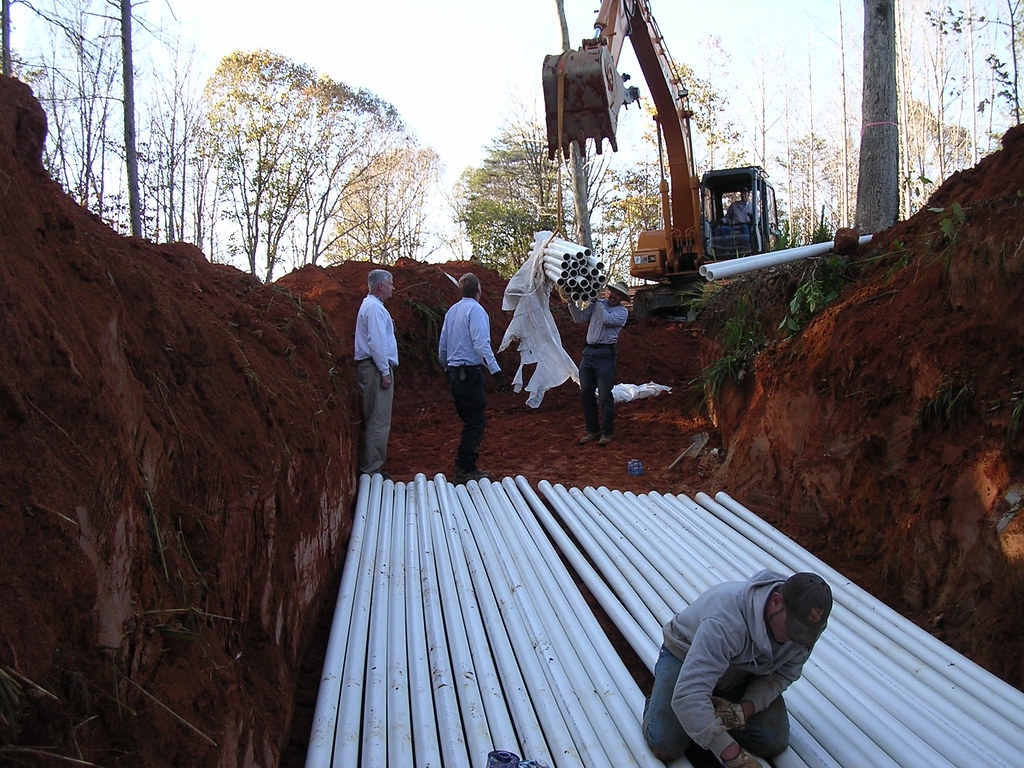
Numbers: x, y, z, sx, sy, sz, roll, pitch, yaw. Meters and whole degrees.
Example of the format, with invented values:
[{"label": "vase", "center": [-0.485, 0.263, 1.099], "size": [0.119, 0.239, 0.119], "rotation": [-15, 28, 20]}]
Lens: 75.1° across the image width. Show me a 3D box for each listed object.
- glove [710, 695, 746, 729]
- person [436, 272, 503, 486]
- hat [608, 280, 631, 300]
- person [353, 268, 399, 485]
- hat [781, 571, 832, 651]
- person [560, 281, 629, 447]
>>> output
[{"label": "glove", "center": [1.030, 1.558, 3.148], "size": [0.108, 0.064, 0.158], "rotation": [7, 4, -17]}, {"label": "person", "center": [-0.422, -0.064, 6.494], "size": [0.645, 2.027, 0.459], "rotation": [-1, 6, 13]}, {"label": "hat", "center": [1.222, -1.094, 7.657], "size": [0.225, 0.222, 0.607], "rotation": [-2, 7, 8]}, {"label": "person", "center": [-1.301, -0.108, 6.385], "size": [0.380, 1.975, 0.491], "rotation": [-4, 6, -14]}, {"label": "hat", "center": [1.317, 1.033, 2.981], "size": [0.194, 0.381, 0.154], "rotation": [0, 7, 23]}, {"label": "person", "center": [1.035, -0.302, 8.147], "size": [0.670, 1.839, 1.423], "rotation": [-3, 6, -5]}]
